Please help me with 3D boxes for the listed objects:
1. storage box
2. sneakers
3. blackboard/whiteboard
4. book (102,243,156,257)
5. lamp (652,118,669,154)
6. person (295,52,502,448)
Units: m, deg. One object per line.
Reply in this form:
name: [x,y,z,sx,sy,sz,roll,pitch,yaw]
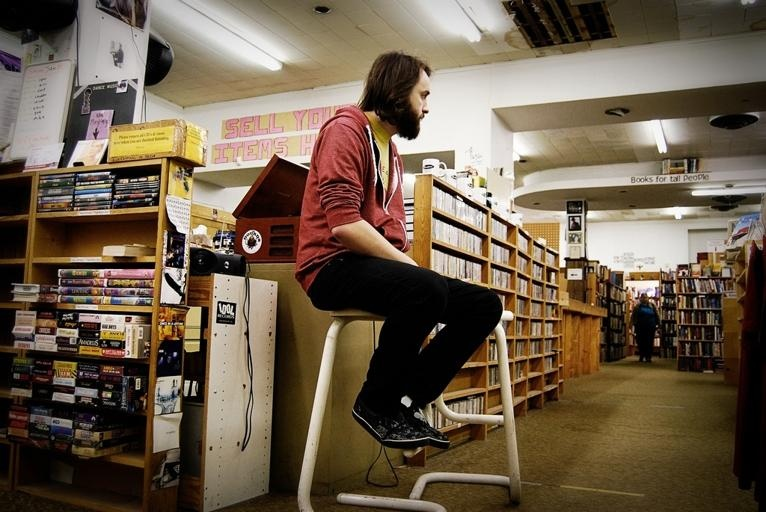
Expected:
storage box: [-1.307,-0.635,2.963,0.580,0.238,0.216,-1,-6,10]
sneakers: [0.077,0.756,2.404,0.360,0.131,0.243,23,-1,11]
blackboard/whiteboard: [-2.257,-0.989,3.489,0.444,0.706,0.157,-3,-7,20]
book: [-1.418,-0.040,2.941,0.246,0.084,0.165,-2,-6,20]
lamp: [5.866,-2.709,11.205,0.268,0.070,1.901,6,-24,30]
person: [0.046,-0.051,2.554,0.932,2.000,0.441,1,-6,-10]
